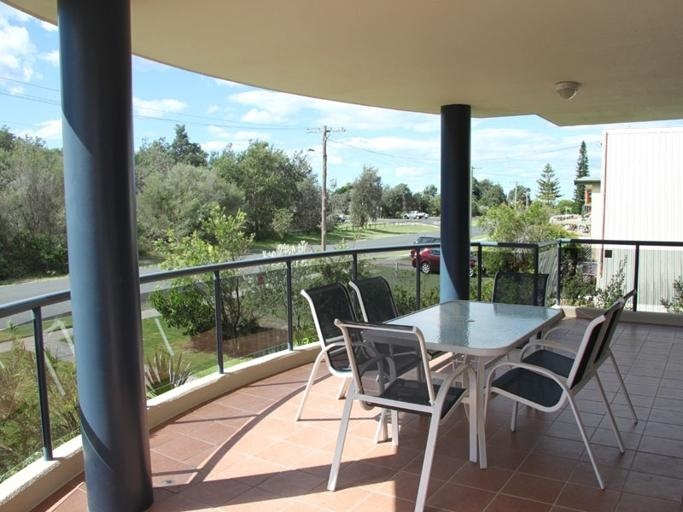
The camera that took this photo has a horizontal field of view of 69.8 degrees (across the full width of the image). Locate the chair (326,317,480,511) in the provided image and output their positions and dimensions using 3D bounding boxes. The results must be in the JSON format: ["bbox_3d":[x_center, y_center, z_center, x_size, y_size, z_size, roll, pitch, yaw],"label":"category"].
[{"bbox_3d":[0.365,0.706,3.146,0.748,1.317,1.117,5,21,34],"label":"chair"}]

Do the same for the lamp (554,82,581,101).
[{"bbox_3d":[2.197,-1.616,4.797,0.181,0.085,0.193,1,-5,-1],"label":"lamp"}]

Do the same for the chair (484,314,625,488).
[{"bbox_3d":[1.487,0.825,3.264,0.835,1.220,0.868,6,17,33],"label":"chair"}]

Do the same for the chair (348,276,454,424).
[{"bbox_3d":[0.404,0.571,3.693,0.926,1.294,0.620,0,6,38],"label":"chair"}]

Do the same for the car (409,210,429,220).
[{"bbox_3d":[8.730,-4.619,56.058,1.429,0.881,4.615,4,8,33],"label":"car"}]

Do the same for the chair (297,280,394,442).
[{"bbox_3d":[0.136,0.785,3.824,0.773,1.069,0.687,6,9,41],"label":"chair"}]
